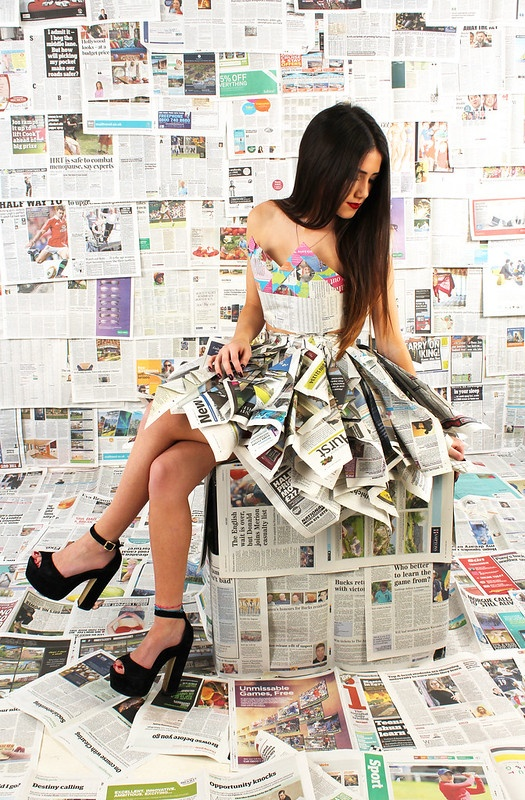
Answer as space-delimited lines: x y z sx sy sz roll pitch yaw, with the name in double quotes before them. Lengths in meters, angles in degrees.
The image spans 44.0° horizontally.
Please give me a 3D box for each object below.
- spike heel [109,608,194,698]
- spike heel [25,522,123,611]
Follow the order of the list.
"spike heel" -0.171 0.429 1.143 0.181 0.181 0.103 6 0 -13
"spike heel" -0.356 0.307 1.221 0.157 0.148 0.092 26 -2 -9
